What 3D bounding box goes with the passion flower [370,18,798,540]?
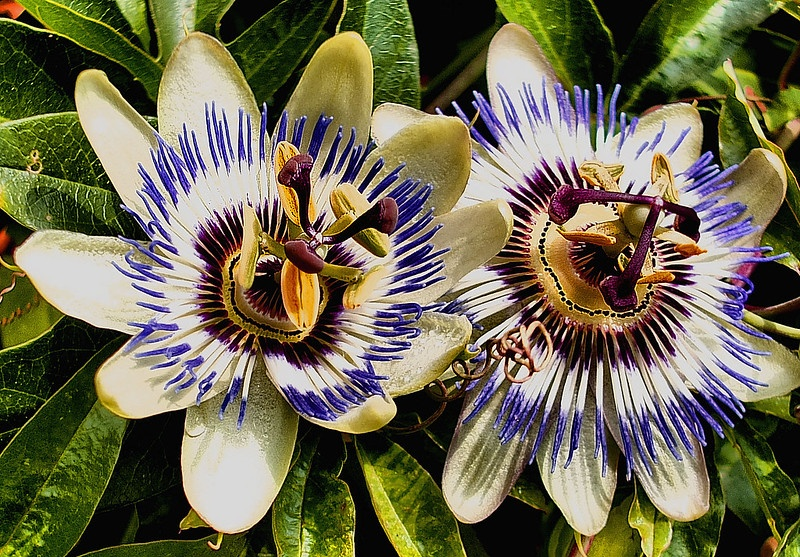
[{"bbox_3d":[0.299,0.046,1.904,0.737,0.343,0.746,2,84,-15],"label":"passion flower"}]
